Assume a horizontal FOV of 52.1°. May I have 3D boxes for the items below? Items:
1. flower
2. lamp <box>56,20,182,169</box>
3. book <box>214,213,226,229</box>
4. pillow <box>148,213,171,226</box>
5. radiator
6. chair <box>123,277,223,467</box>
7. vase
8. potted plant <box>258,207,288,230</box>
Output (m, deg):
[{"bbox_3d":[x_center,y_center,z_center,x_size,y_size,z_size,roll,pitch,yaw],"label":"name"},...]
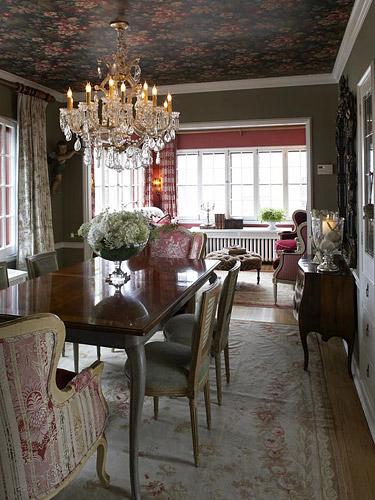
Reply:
[{"bbox_3d":[-0.422,-0.071,2.331,0.463,0.283,0.422,-3,25,-8],"label":"flower"},{"bbox_3d":[-0.519,-1.213,2.958,0.895,1.149,0.852,-4,26,-19],"label":"lamp"},{"bbox_3d":[0.653,-0.580,8.028,0.237,0.429,0.361,3,3,9],"label":"book"},{"bbox_3d":[-0.524,-0.567,7.562,0.376,0.209,0.532,-2,3,-15],"label":"pillow"},{"bbox_3d":[1.116,-0.107,7.980,1.654,0.759,0.449,2,19,19],"label":"radiator"},{"bbox_3d":[-0.105,0.611,1.974,0.485,0.836,0.520,2,4,17],"label":"chair"},{"bbox_3d":[-0.413,0.065,2.365,0.281,0.220,0.270,1,3,26],"label":"vase"},{"bbox_3d":[1.650,-0.632,7.587,0.456,0.449,0.429,1,8,9],"label":"potted plant"}]
